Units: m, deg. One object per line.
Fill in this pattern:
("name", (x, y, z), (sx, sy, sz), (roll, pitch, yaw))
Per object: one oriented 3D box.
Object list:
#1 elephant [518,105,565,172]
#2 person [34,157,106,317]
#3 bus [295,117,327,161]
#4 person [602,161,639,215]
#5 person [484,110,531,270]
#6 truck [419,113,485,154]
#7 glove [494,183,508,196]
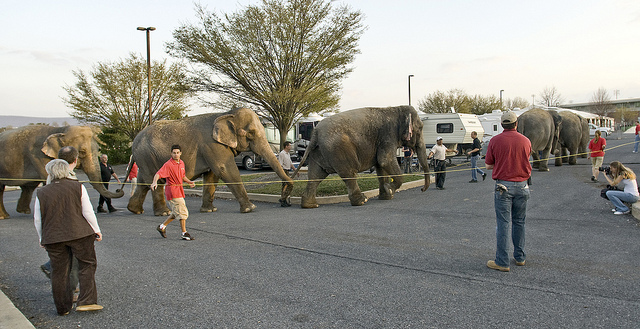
("elephant", (13.314, -1.472, 24.604), (2.290, 3.556, 6.719), (5, 5, 42))
("person", (-5.281, 1.517, 8.383), (1.223, 3.248, 0.507), (-3, 4, 3))
("bus", (-1.762, -2.585, 37.364), (2.895, 3.699, 4.387), (6, 10, 38))
("person", (9.820, 0.766, 13.083), (0.869, 1.649, 0.924), (-3, 4, 12))
("person", (4.496, 0.598, 9.602), (1.168, 3.733, 0.694), (-7, 5, -35))
("truck", (10.668, -2.593, 33.660), (5.553, 2.533, 4.791), (2, 5, 42))
("glove", (4.311, 0.578, 9.522), (0.116, 0.243, 0.218), (-12, -8, 5))
